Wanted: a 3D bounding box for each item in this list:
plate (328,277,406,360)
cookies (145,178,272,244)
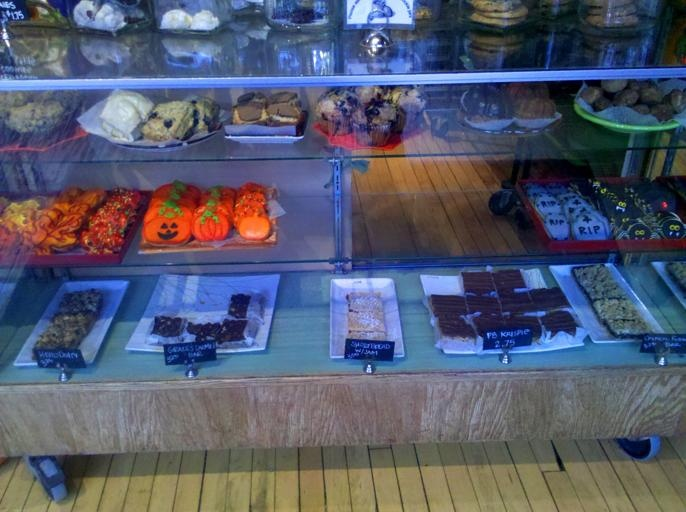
[{"bbox_3d":[0.087,0.240,1.891,0.260,0.051,0.358,-5,47,8],"label":"plate"},{"bbox_3d":[-0.523,-0.163,1.825,0.365,0.102,0.306,0,33,-5],"label":"cookies"}]
